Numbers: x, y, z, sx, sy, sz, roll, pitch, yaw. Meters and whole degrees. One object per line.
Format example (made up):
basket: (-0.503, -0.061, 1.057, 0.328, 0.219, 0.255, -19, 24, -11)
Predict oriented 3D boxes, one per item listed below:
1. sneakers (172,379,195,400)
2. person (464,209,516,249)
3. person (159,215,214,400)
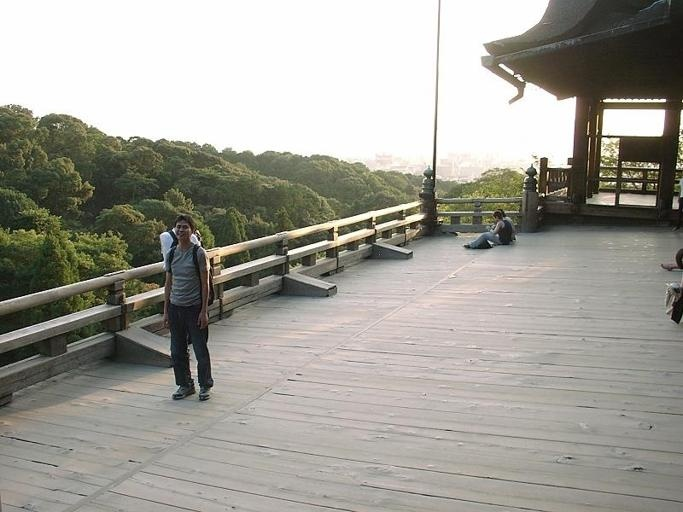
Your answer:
sneakers: (-1.313, 1.140, 4.539, 0.092, 0.092, 0.232, -5, -2, 24)
person: (2.933, -0.486, 11.279, 1.414, 0.835, 0.586, -6, 16, 12)
person: (-1.300, 0.422, 4.491, 0.424, 1.509, 0.592, -5, 15, -10)
